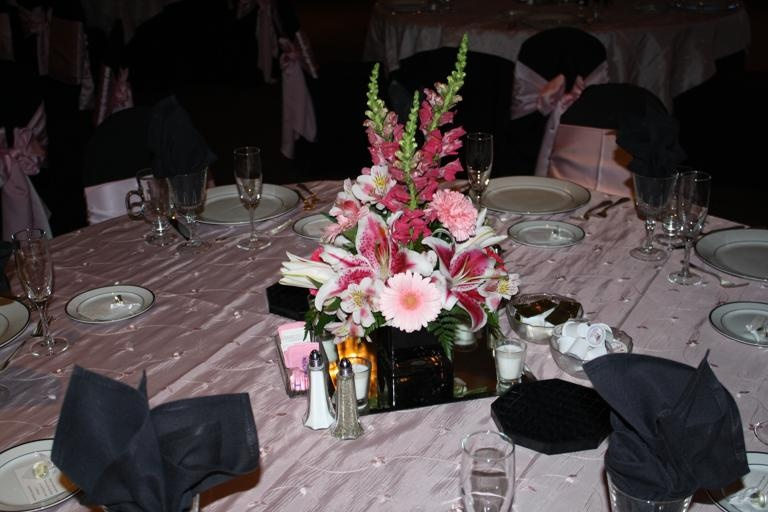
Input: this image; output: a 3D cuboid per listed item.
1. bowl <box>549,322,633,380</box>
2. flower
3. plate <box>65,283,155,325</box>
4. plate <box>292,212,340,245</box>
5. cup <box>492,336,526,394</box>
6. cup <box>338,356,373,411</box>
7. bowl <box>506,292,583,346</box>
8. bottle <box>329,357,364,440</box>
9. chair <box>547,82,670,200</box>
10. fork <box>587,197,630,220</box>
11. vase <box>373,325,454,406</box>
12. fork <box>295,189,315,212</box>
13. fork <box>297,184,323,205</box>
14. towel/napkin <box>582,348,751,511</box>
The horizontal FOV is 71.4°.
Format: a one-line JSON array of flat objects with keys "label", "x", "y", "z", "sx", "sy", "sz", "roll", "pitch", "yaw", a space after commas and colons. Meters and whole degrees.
[{"label": "bowl", "x": 0.535, "y": 0.218, "z": 1.297, "sx": 0.180, "sy": 0.091, "sz": 0.161, "roll": -38, "pitch": 17, "yaw": -36}, {"label": "flower", "x": 0.055, "y": -0.093, "z": 1.231, "sx": 0.472, "sy": 0.760, "sz": 0.386, "roll": -21, "pitch": 27, "yaw": -40}, {"label": "plate", "x": -0.816, "y": 0.144, "z": 1.593, "sx": 0.237, "sy": 0.033, "sz": 0.240, "roll": -13, "pitch": 29, "yaw": -35}, {"label": "plate", "x": -0.243, "y": -0.113, "z": 1.991, "sx": 0.176, "sy": 0.022, "sz": 0.171, "roll": -11, "pitch": 34, "yaw": -13}, {"label": "cup", "x": 0.306, "y": 0.266, "z": 1.292, "sx": 0.053, "sy": 0.084, "sz": 0.053, "roll": 1, "pitch": 2, "yaw": 0}, {"label": "cup", "x": -0.069, "y": 0.310, "z": 1.275, "sx": 0.085, "sy": 0.098, "sz": 0.084, "roll": -3, "pitch": -9, "yaw": 0}, {"label": "bowl", "x": 0.438, "y": 0.151, "z": 1.481, "sx": 0.146, "sy": 0.058, "sz": 0.146, "roll": -1, "pitch": 13, "yaw": 0}, {"label": "bottle", "x": -0.086, "y": 0.300, "z": 1.181, "sx": 0.070, "sy": 0.193, "sz": 0.087, "roll": -4, "pitch": 20, "yaw": -3}, {"label": "chair", "x": 1.092, "y": -0.558, "z": 2.754, "sx": 0.437, "sy": 0.612, "sz": 0.319, "roll": 13, "pitch": -4, "yaw": 14}, {"label": "fork", "x": 0.880, "y": -0.215, "z": 2.091, "sx": 0.273, "sy": 0.021, "sz": 0.072, "roll": -25, "pitch": 35, "yaw": -38}, {"label": "vase", "x": 0.073, "y": 0.281, "z": 1.345, "sx": 0.184, "sy": 0.342, "sz": 0.176, "roll": -2, "pitch": 46, "yaw": -1}, {"label": "fork", "x": -0.308, "y": -0.228, "z": 2.183, "sx": 0.038, "sy": 0.031, "sz": 0.205, "roll": -6, "pitch": 21, "yaw": -11}, {"label": "fork", "x": -0.310, "y": -0.259, "z": 2.237, "sx": 0.047, "sy": 0.023, "sz": 0.219, "roll": -9, "pitch": 24, "yaw": -14}, {"label": "towel/napkin", "x": 0.497, "y": 0.287, "z": 0.939, "sx": 0.262, "sy": 0.126, "sz": 0.264, "roll": -12, "pitch": 56, "yaw": 16}]
